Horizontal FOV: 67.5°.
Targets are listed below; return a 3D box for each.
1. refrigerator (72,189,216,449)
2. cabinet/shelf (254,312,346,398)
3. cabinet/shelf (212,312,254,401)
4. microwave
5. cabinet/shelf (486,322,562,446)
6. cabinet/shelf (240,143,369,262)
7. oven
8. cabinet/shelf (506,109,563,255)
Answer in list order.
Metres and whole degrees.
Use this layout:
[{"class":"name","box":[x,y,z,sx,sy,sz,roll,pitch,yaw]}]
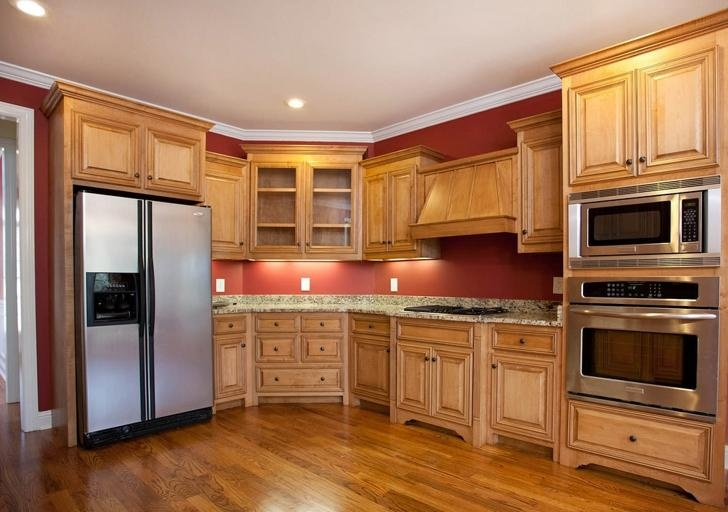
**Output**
[{"class":"refrigerator","box":[-1.940,0.515,4.851,1.200,2.162,0.619,-6,14,-24]},{"class":"cabinet/shelf","box":[-0.709,0.994,5.660,0.964,0.835,0.451,0,-4,-1]},{"class":"cabinet/shelf","box":[-1.333,1.050,5.525,0.515,0.955,0.158,-11,17,-41]},{"class":"microwave","box":[2.159,-0.251,4.306,0.888,0.502,0.524,-1,-1,20]},{"class":"cabinet/shelf","box":[1.477,1.105,4.750,0.670,1.096,0.726,1,0,-41]},{"class":"cabinet/shelf","box":[-0.688,-0.568,6.051,1.418,1.188,0.400,0,-4,-1]},{"class":"oven","box":[2.149,0.643,4.462,1.263,1.217,0.933,-2,-7,40]},{"class":"cabinet/shelf","box":[1.547,-0.623,4.846,0.630,1.150,0.316,-8,18,-10]}]
